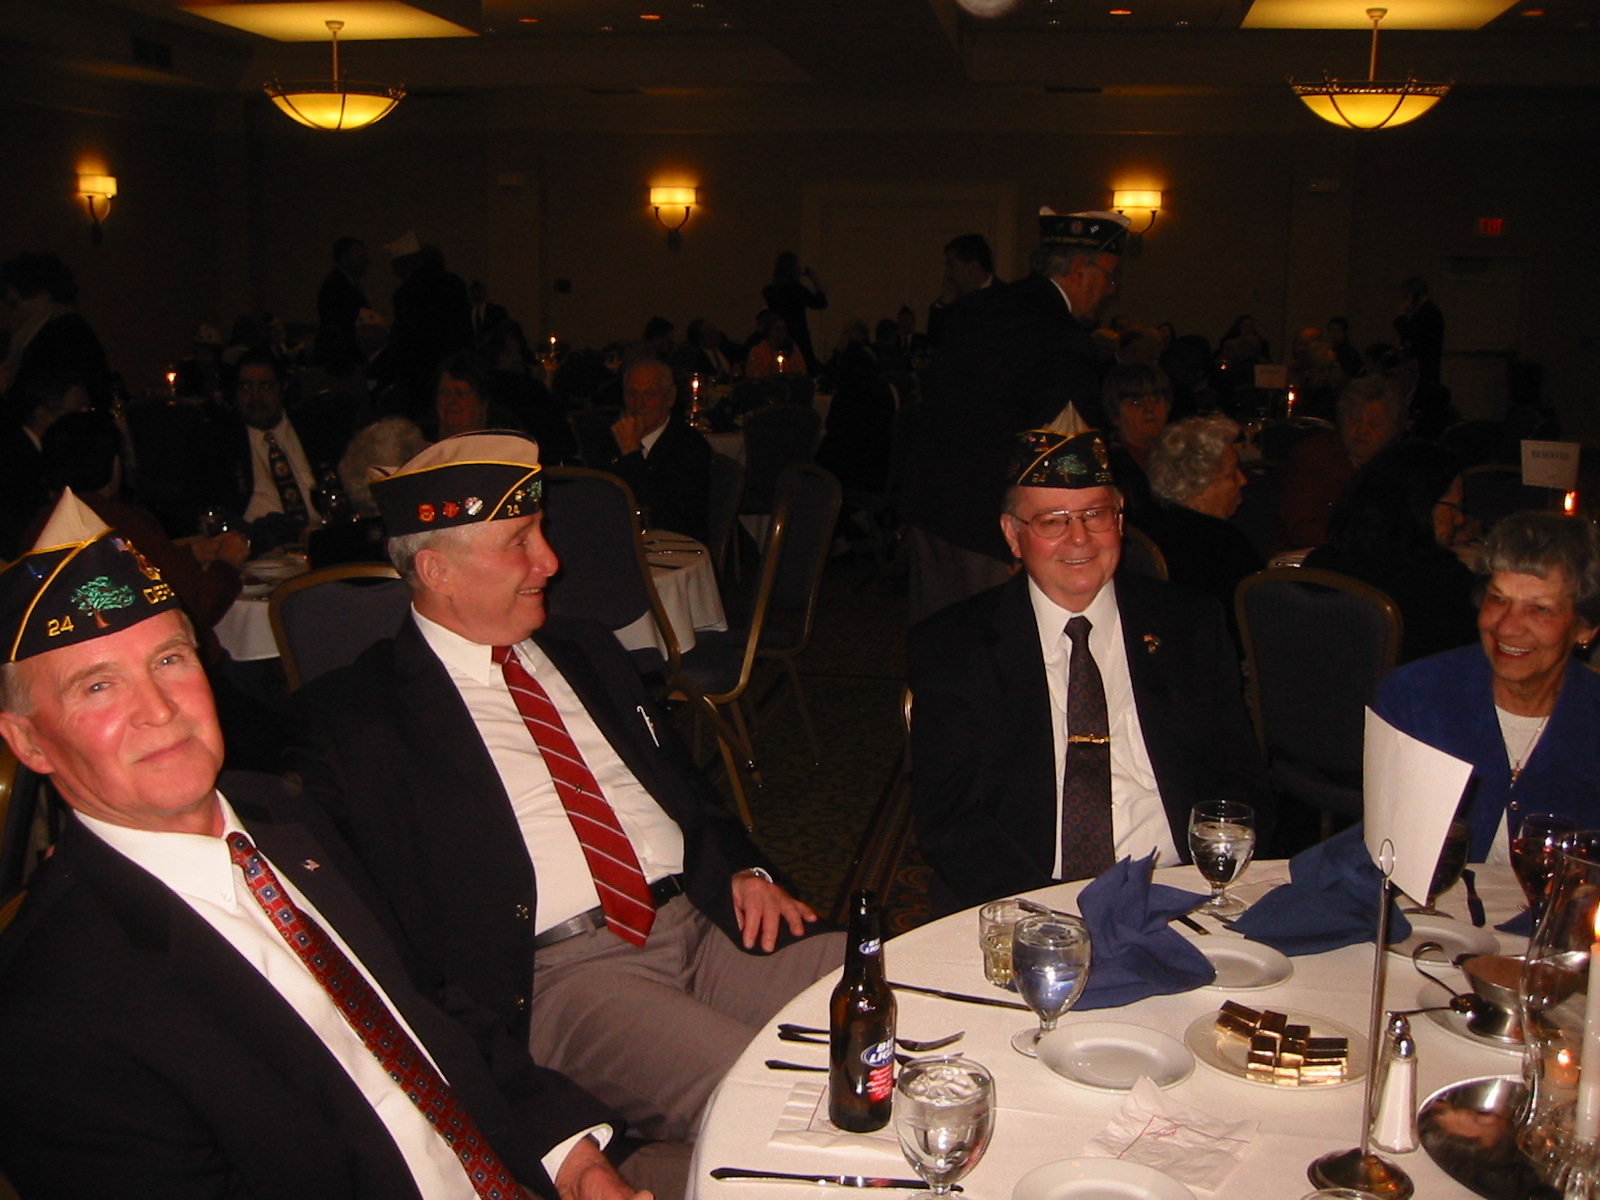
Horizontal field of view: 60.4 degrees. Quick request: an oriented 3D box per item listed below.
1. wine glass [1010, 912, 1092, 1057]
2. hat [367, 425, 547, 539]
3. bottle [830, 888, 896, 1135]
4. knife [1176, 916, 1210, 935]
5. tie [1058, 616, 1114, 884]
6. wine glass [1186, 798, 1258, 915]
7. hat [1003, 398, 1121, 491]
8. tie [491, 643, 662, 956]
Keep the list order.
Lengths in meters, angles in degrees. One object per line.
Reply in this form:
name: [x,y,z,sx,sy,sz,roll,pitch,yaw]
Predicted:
wine glass: [0.346,0.532,1.873,0.100,0.167,0.099,1,4,12]
hat: [-0.673,-0.255,2.727,0.418,0.176,0.346,12,17,36]
bottle: [0.083,0.527,1.796,0.087,0.259,0.204,-2,14,3]
knife: [0.627,0.514,2.164,0.014,0.007,0.059,-2,10,-5]
tie: [0.557,0.314,2.645,0.124,0.640,0.055,-7,32,3]
wine glass: [0.686,0.413,2.219,0.102,0.170,0.104,-1,8,-7]
hat: [0.565,-0.317,2.910,0.234,0.229,0.343,2,-7,4]
tie: [-0.437,0.285,2.619,0.137,0.057,0.974,-15,64,-17]
